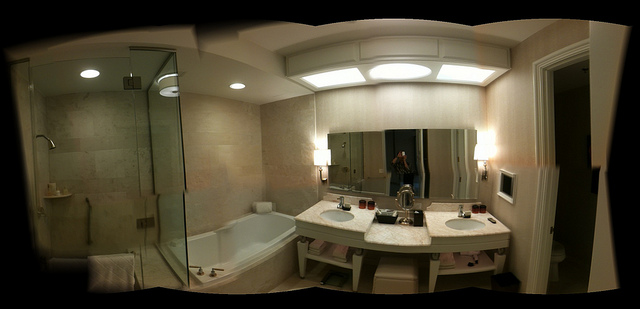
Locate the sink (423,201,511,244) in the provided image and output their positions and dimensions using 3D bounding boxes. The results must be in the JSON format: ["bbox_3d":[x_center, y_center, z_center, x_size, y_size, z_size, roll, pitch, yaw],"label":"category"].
[{"bbox_3d":[0.820,0.393,2.271,0.435,0.223,0.538,0,0,14],"label":"sink"}]
